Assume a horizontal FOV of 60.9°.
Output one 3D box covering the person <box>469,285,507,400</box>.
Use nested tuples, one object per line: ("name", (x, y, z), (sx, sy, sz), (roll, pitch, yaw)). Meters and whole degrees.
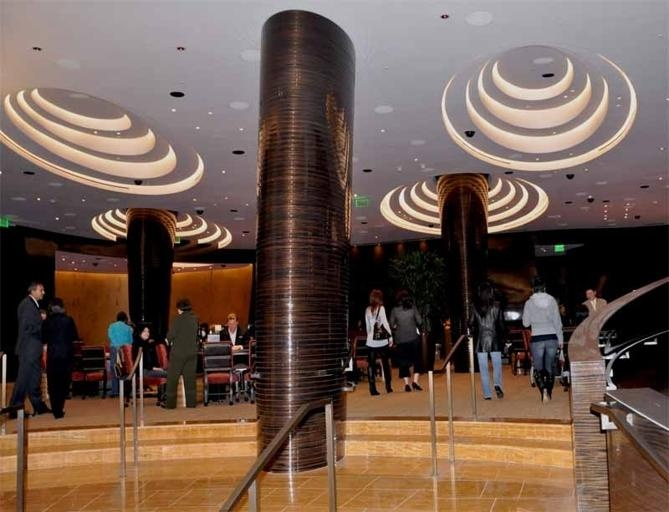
("person", (2.475, 1.296, 9.176), (0.527, 1.937, 1.354), (-6, -12, 16))

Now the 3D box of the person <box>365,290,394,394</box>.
("person", (0.797, 1.548, 10.117), (0.468, 1.782, 1.104), (-3, -12, 4))

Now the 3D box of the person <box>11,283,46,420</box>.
("person", (-4.666, 1.368, 8.764), (0.458, 2.048, 0.970), (3, -13, -25))

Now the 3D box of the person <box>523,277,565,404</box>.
("person", (3.107, 1.215, 8.464), (0.518, 1.794, 0.538), (-6, -12, 18))

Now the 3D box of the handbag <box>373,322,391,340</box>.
("handbag", (0.807, 1.298, 9.940), (0.263, 0.323, 0.140), (-7, 3, 4))

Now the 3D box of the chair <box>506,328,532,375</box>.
("chair", (4.227, 2.207, 12.942), (0.458, 0.756, 0.866), (-8, 11, 10))

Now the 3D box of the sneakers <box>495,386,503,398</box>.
("sneakers", (2.560, 2.120, 8.869), (0.075, 0.090, 0.218), (-10, -56, 22))
